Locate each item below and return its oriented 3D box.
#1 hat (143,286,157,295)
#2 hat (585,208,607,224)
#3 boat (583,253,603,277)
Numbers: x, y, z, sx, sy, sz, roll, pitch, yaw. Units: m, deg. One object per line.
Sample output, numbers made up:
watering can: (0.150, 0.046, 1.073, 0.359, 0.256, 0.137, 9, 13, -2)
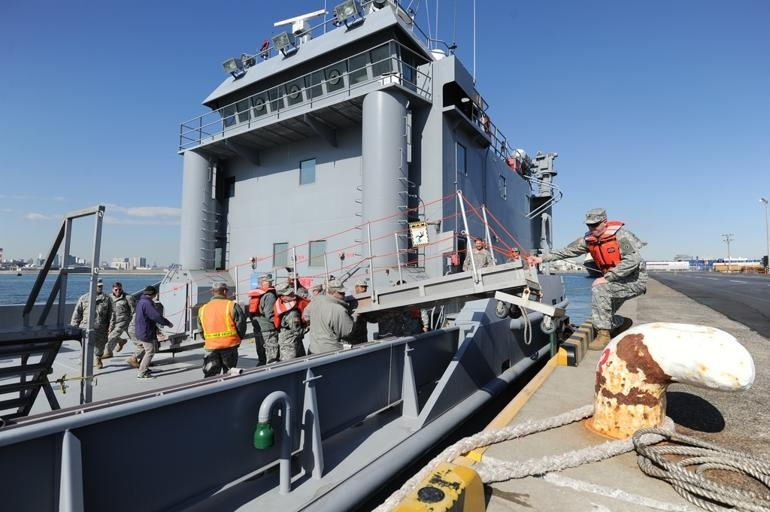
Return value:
hat: (-4.148, 0.663, 9.528, 0.174, 0.172, 0.224, 4, 13, 3)
hat: (3.067, -0.579, 7.822, 0.244, 0.235, 0.641, -4, -3, 19)
boat: (3.332, 0.155, 8.668, 0.439, 0.414, 0.377, -1, 5, 9)
